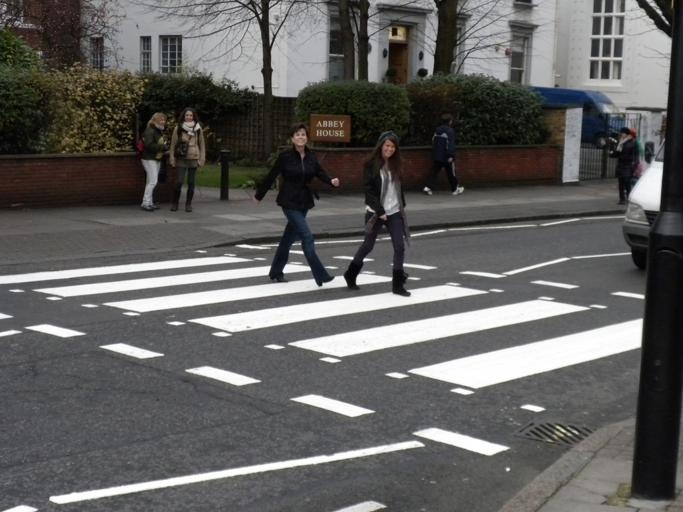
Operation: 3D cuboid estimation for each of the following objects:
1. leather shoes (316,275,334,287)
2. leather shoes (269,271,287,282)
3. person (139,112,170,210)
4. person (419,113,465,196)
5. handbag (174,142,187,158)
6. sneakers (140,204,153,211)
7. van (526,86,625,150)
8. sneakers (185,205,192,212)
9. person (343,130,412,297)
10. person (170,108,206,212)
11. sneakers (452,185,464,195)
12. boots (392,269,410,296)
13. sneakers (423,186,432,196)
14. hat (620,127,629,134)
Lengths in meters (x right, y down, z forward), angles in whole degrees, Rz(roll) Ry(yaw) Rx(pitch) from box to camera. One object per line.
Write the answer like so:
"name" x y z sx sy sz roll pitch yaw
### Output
"leather shoes" -0.236 0.330 10.658 0.229 0.182 0.331 1 10 -2
"leather shoes" -0.912 0.305 10.862 0.304 0.153 0.107 0 8 25
"person" -4.280 -2.146 17.169 0.641 2.207 0.510 0 9 -10
"person" 3.165 -3.126 23.017 1.267 2.426 1.004 0 10 -9
"handbag" -3.653 -2.416 17.126 0.273 0.382 0.200 5 -17 -1
"sneakers" -4.490 -1.131 17.347 0.305 0.142 0.114 1 0 44
"van" 12.743 -7.351 40.435 2.483 3.087 5.407 -6 11 -42
"sneakers" -3.531 -1.104 17.349 0.155 0.220 0.529 -1 0 -12
"person" 0.535 -0.598 10.298 0.866 2.179 0.777 1 9 1
"person" -3.553 -2.213 17.303 0.778 2.334 0.588 -1 10 -14
"sneakers" 3.635 -2.064 23.363 0.180 0.265 0.553 27 46 33
"boots" 0.822 0.345 10.202 0.224 0.343 0.288 2 10 1
"sneakers" 2.602 -1.987 22.896 0.122 0.167 0.369 15 2 -22
"hat" 8.363 -3.687 22.092 0.241 0.203 0.246 4 6 41
